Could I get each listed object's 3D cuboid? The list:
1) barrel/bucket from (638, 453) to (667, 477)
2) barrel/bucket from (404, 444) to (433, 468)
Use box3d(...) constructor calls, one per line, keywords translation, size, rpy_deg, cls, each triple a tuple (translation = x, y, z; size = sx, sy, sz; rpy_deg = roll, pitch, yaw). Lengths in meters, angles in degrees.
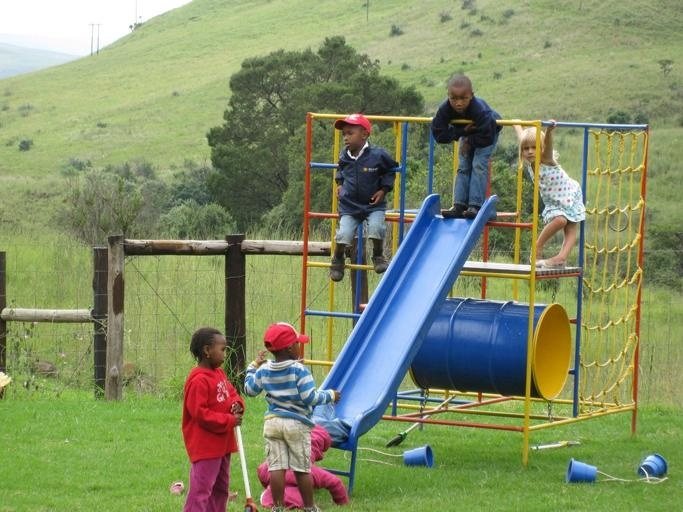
box3d(translation=(10.716, 7.389, 54.632), size=(0.530, 0.809, 0.742), rpy_deg=(-5, -26, -45), cls="barrel/bucket")
box3d(translation=(2.661, 7.081, 55.255), size=(0.786, 0.994, 0.739), rpy_deg=(-2, -21, -1), cls="barrel/bucket")
